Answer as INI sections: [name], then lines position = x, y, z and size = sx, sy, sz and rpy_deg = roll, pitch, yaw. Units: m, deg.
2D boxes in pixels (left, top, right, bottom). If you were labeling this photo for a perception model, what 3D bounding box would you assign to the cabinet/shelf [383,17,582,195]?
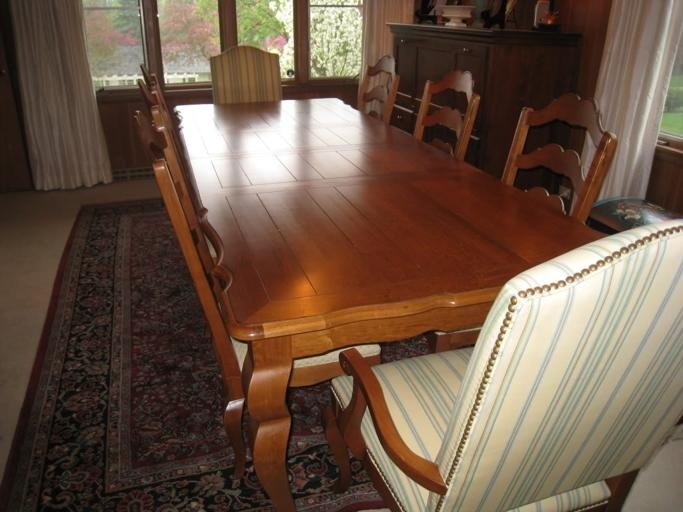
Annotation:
[cabinet/shelf]
position = 0.958, -0.966, 3.095
size = 0.509, 1.271, 1.299
rpy_deg = -8, 27, -11
